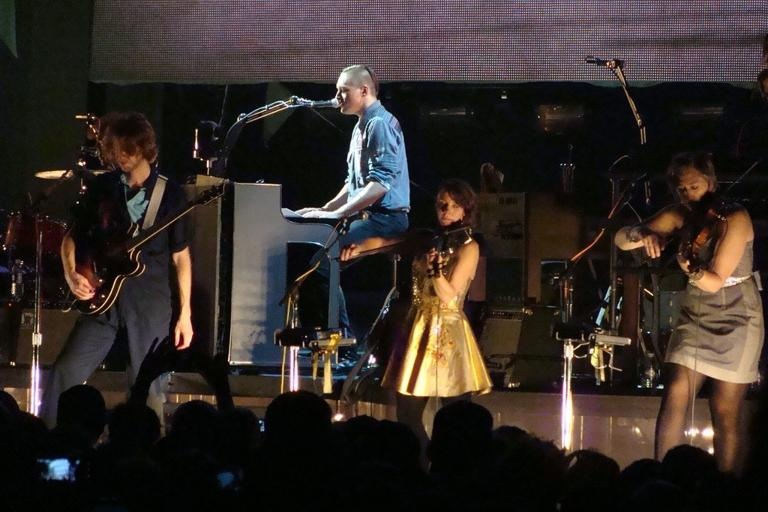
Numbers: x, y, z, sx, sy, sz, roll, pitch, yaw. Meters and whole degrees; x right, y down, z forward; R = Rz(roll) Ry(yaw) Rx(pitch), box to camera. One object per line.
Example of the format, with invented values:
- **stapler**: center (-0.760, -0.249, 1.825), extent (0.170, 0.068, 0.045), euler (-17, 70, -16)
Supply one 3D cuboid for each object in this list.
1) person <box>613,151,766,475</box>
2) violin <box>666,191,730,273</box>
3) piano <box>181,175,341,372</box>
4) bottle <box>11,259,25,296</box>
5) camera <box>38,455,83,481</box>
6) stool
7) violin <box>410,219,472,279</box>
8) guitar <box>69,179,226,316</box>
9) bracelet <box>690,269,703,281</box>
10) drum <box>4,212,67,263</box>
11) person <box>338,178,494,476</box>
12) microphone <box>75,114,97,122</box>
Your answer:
- **person**: center (2.065, 0.350, 6.408), extent (0.833, 2.058, 0.361), euler (4, -3, 14)
- **violin**: center (2.074, -0.176, 6.364), extent (0.135, 0.522, 0.298), euler (25, -11, -21)
- **piano**: center (-1.049, 0.102, 8.329), extent (1.450, 1.826, 1.135), euler (-1, 1, -5)
- **bottle**: center (-3.158, 0.184, 8.421), extent (0.112, 0.285, 0.356), euler (5, -3, -21)
- **camera**: center (-1.781, 1.164, 5.347), extent (0.222, 0.105, 0.046), euler (3, -3, 11)
- **stool**: center (0.185, 0.481, 7.138), extent (0.370, 1.167, 0.840), euler (15, -3, -32)
- **violin**: center (0.398, -0.079, 6.554), extent (0.432, 0.136, 0.280), euler (-37, 21, -9)
- **guitar**: center (-1.623, -0.055, 6.675), extent (1.053, 0.407, 0.181), euler (-36, -21, -2)
- **bracelet**: center (2.009, 0.117, 6.262), extent (0.050, 0.071, 0.071), euler (46, 3, -1)
- **drum**: center (-2.938, -0.151, 8.241), extent (0.496, 0.355, 0.489), euler (2, -9, 0)
- **person**: center (0.384, 0.434, 6.476), extent (0.720, 1.930, 0.377), euler (4, -3, -1)
- **microphone**: center (-2.654, -1.252, 8.713), extent (0.129, 0.106, 0.390), euler (1, 7, -28)
